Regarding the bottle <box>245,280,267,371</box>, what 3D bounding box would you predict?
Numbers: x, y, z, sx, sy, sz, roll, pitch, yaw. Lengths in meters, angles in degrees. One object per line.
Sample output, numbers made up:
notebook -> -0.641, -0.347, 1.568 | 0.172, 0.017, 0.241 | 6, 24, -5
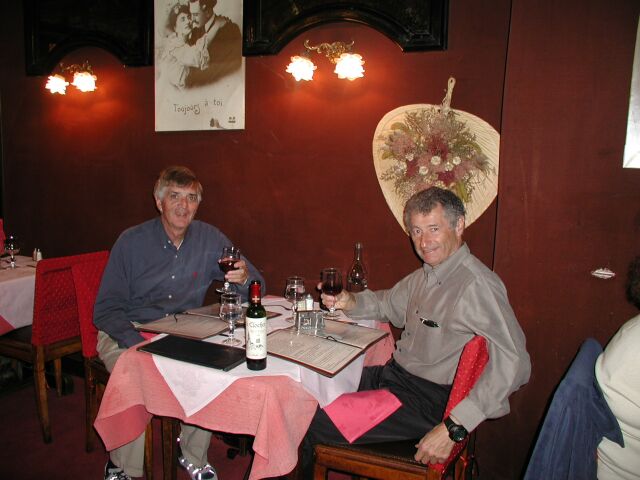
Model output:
bottle -> -0.294, 0.374, 2.230 | 0.098, 0.404, 0.167 | -3, 6, -9

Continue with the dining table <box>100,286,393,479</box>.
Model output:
dining table -> -0.415, 0.669, 2.325 | 0.632, 0.412, 0.792 | 5, 10, 19

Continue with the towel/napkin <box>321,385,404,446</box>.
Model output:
towel/napkin -> 0.202, 0.872, 2.508 | 0.280, 0.223, 0.080 | -31, -20, -13

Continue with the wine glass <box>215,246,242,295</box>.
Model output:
wine glass -> -0.547, 0.166, 2.940 | 0.133, 0.310, 0.144 | 7, 16, -6

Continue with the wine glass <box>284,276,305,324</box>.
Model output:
wine glass -> -0.140, 0.323, 2.768 | 0.105, 0.272, 0.111 | 1, 17, -8

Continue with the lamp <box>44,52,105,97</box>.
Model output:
lamp -> -2.106, -1.365, 4.126 | 0.529, 0.300, 0.136 | 0, 6, 23
